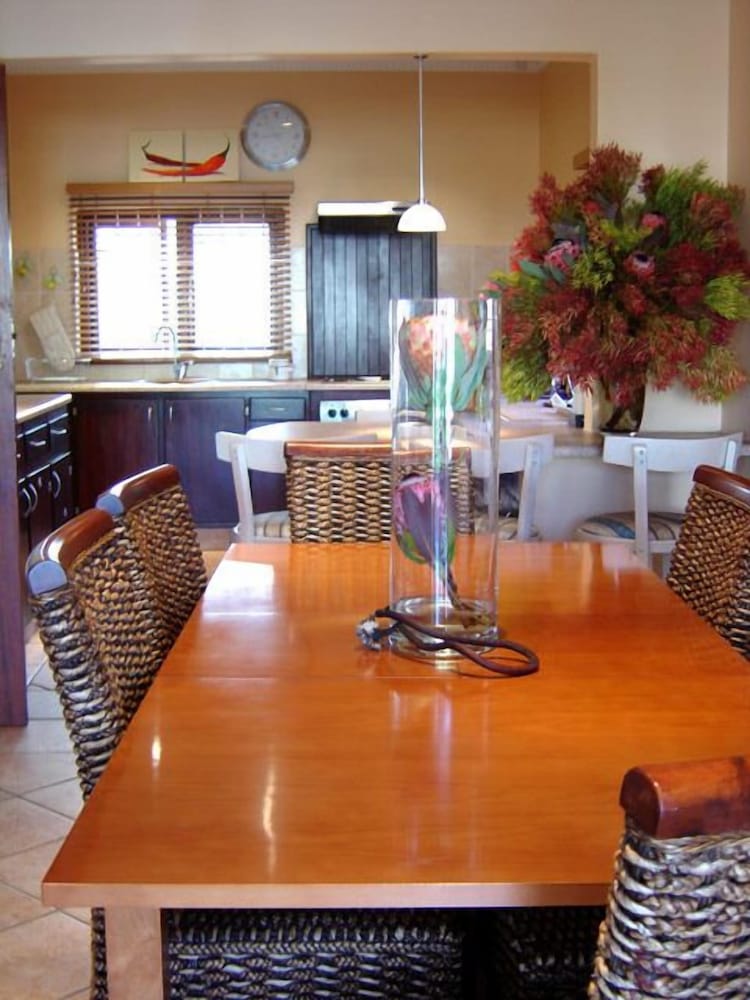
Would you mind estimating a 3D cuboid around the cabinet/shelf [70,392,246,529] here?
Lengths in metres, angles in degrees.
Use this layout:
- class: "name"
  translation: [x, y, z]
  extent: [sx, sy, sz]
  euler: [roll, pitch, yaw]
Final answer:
- class: "cabinet/shelf"
  translation: [-1.472, -0.324, 5.740]
  extent: [1.114, 0.966, 0.380]
  euler: [-4, 27, -24]

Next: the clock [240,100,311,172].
- class: "clock"
  translation: [-0.692, -2.510, 5.900]
  extent: [0.504, 0.471, 0.509]
  euler: [3, -11, 1]

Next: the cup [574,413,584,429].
- class: "cup"
  translation: [0.814, -0.316, 3.389]
  extent: [0.049, 0.055, 0.047]
  euler: [0, 13, 0]

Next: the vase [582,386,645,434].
- class: "vase"
  translation: [0.849, -0.320, 3.077]
  extent: [0.188, 0.206, 0.213]
  euler: [-1, 17, 1]
